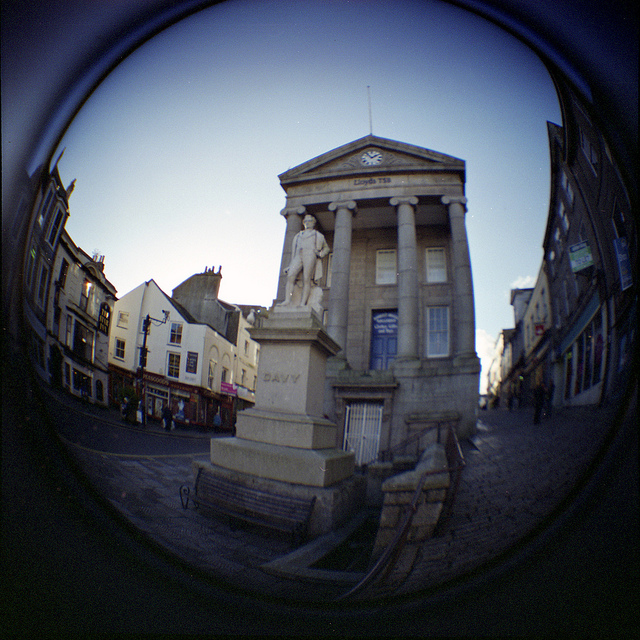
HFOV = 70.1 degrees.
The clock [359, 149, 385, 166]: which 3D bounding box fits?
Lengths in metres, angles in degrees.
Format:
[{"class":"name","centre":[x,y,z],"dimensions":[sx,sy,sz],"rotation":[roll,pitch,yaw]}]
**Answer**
[{"class":"clock","centre":[0.316,-1.006,2.822],"dimensions":[0.176,0.018,0.218],"rotation":[-6,-17,0]}]

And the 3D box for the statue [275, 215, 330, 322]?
[{"class":"statue","centre":[-0.155,-0.496,4.048],"dimensions":[0.317,1.044,0.336],"rotation":[4,-17,6]}]
